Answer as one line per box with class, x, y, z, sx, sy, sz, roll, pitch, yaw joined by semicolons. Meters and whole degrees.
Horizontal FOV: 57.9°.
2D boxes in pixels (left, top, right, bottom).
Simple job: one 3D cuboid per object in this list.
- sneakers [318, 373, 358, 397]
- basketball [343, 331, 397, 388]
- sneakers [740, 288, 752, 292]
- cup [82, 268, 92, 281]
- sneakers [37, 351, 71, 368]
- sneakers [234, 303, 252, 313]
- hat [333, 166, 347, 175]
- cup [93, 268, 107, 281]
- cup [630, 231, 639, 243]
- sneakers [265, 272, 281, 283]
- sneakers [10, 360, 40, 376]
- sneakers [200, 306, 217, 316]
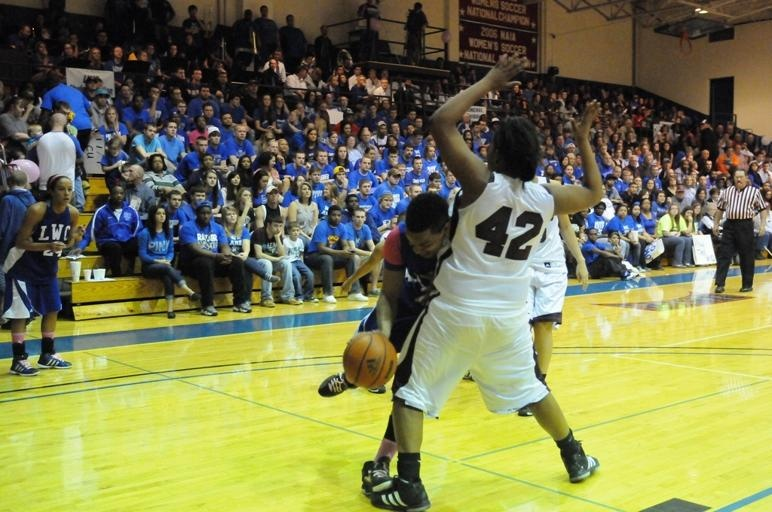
sneakers;-0.380;0.949;5.059;0.381;0.131;0.151;-9;3;21
basketball;-0.112;0.687;4.787;0.368;0.423;0.361;17;-8;3
sneakers;6.171;0.580;11.974;0.208;0.068;0.080;0;-27;-2
cup;-4.089;0.259;9.577;0.129;0.136;0.143;0;-6;0
sneakers;-3.405;1.075;7.242;0.380;0.178;0.130;3;3;-16
sneakers;-2.094;0.759;10.206;0.301;0.123;0.110;-3;2;29
hat;-0.869;-1.536;12.637;0.160;0.101;0.211;-1;-5;-23
cup;-3.966;0.262;9.720;0.173;0.147;0.157;-3;2;0
cup;5.337;-0.439;15.005;0.187;0.206;0.091;3;3;-11
sneakers;-1.674;0.334;10.368;0.100;0.084;0.231;29;-13;-36
sneakers;-3.624;1.125;7.056;0.323;0.136;0.116;3;1;14
sneakers;-2.513;0.793;9.961;0.283;0.116;0.104;-4;-2;42
